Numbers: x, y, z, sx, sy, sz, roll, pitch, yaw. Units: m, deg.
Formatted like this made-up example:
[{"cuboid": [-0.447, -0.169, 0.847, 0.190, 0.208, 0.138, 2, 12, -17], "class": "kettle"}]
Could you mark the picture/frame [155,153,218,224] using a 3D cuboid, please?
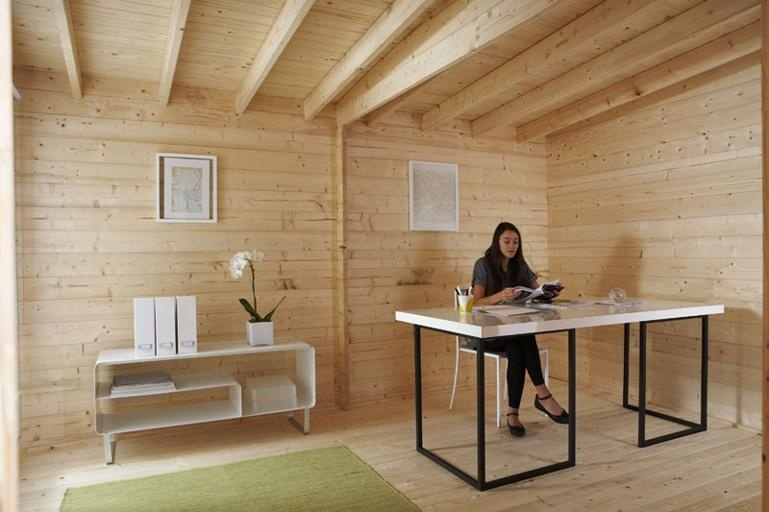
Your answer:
[{"cuboid": [-1.695, -0.575, 4.704, 0.518, 0.588, 0.181, -3, 12, -11], "class": "picture/frame"}]

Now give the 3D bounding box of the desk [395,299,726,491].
[{"cuboid": [1.393, 0.765, 4.163, 2.123, 0.650, 0.886, -2, 0, -22], "class": "desk"}]

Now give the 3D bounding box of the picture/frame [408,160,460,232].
[{"cuboid": [0.498, -0.566, 5.502, 0.051, 0.641, 0.771, -6, 9, -31], "class": "picture/frame"}]

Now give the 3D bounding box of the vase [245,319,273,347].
[{"cuboid": [-1.018, 0.655, 4.498, 0.281, 0.167, 0.246, 1, -3, -32], "class": "vase"}]

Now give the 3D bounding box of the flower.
[{"cuboid": [-1.108, 0.291, 4.698, 0.470, 0.656, 0.518, -3, 10, -6], "class": "flower"}]

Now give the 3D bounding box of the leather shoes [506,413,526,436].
[{"cuboid": [1.039, 1.386, 4.412, 0.124, 0.083, 0.260, 1, -3, -13], "class": "leather shoes"}]
